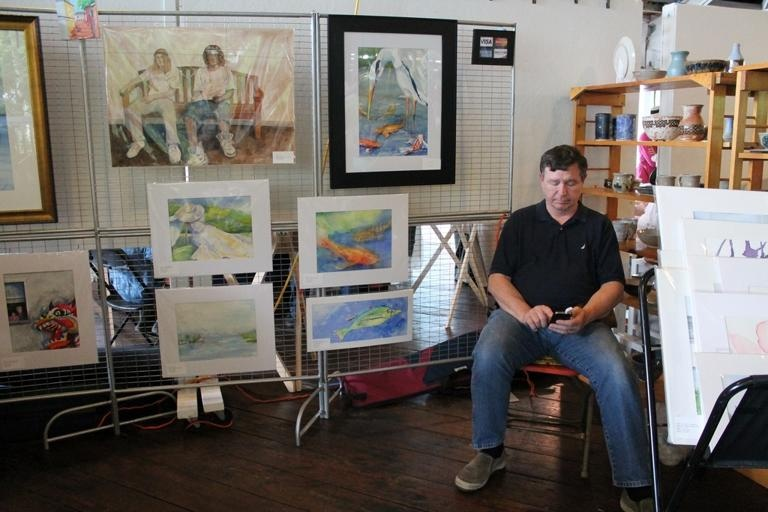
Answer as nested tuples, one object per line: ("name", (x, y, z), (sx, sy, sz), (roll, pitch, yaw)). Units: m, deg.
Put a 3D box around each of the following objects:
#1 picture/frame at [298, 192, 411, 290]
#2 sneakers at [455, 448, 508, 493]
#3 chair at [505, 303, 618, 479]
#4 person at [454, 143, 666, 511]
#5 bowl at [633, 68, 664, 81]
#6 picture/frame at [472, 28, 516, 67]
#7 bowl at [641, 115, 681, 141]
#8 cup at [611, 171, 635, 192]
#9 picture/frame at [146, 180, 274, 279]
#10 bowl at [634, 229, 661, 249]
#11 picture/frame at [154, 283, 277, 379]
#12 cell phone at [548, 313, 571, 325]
("picture/frame", (-0.193, -0.095, 3.619), (0.631, 0.480, 0.025), (-2, 7, -15))
("sneakers", (0.516, 1.135, 3.246), (0.339, 0.128, 0.125), (-11, 11, -40))
("chair", (1.020, 0.734, 3.556), (0.620, 0.804, 0.580), (-3, 9, 4))
("person", (0.897, 0.342, 3.219), (0.893, 1.749, 0.897), (-2, 17, 7))
("bowl", (1.808, -1.237, 4.077), (0.199, 0.073, 0.291), (4, 18, 26))
("picture/frame", (0.693, -1.323, 3.801), (0.295, 0.203, 0.030), (0, 6, -18))
("bowl", (1.819, -0.808, 3.899), (0.191, 0.116, 0.186), (0, 2, 0))
("cup", (1.687, -0.528, 4.208), (0.152, 0.106, 0.113), (-1, 2, -12))
("picture/frame", (-1.026, -0.165, 3.507), (0.622, 0.467, 0.026), (-2, 8, -12))
("bowl", (1.729, -0.111, 3.909), (0.144, 0.063, 0.141), (1, -2, 0))
("picture/frame", (-1.027, 0.450, 3.616), (0.637, 0.486, 0.033), (-2, 5, -12))
("cell phone", (0.918, 0.321, 3.103), (0.070, 0.067, 0.018), (3, -11, 2))
